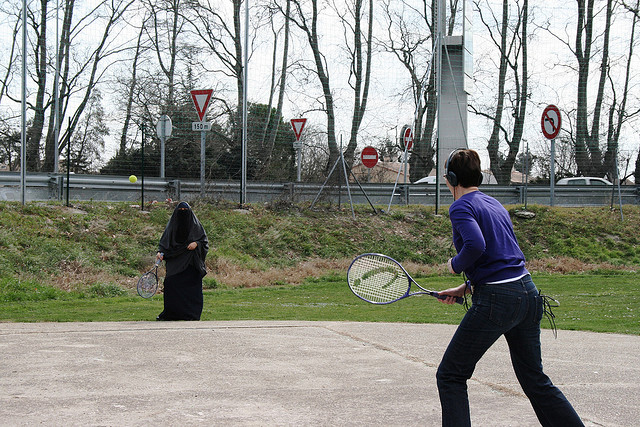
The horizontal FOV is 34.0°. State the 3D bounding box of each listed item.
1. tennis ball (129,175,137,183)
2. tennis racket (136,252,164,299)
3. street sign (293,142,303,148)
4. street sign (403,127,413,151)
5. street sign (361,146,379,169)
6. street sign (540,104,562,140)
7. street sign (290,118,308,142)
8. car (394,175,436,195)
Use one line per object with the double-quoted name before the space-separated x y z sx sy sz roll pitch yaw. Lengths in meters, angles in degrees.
"tennis ball" -6.878 -1.302 38.832 0.280 0.274 0.285 1 25 -1
"tennis racket" -5.418 1.921 34.032 0.698 0.110 1.741 7 50 8
"street sign" -0.897 -2.867 42.993 0.316 0.283 0.621 2 13 2
"street sign" 3.602 -3.124 43.112 0.337 0.990 0.735 9 15 29
"street sign" 2.059 -2.348 43.363 0.641 0.892 0.807 2 13 1
"street sign" 9.017 -3.612 40.941 0.685 1.500 1.063 3 13 5
"street sign" -0.864 -3.399 42.358 0.580 1.019 1.219 1 13 -2
"car" 4.130 -1.235 44.999 2.044 0.686 0.934 2 0 -6
